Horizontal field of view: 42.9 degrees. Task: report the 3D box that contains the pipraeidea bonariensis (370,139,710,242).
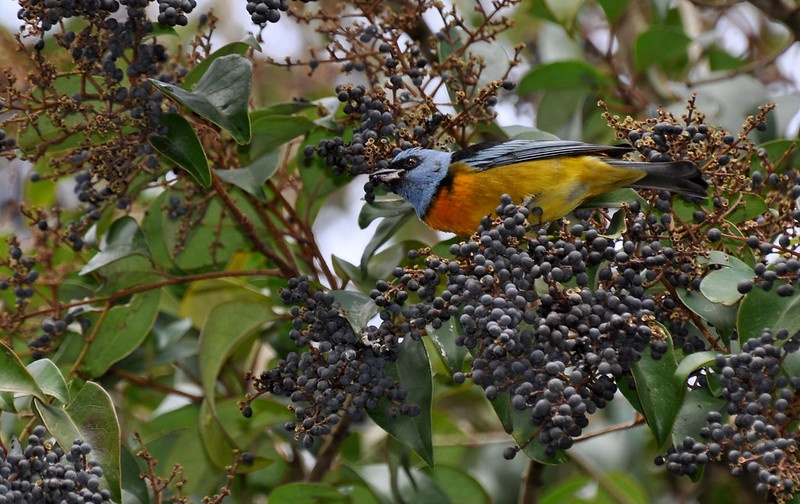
[{"bbox_3d":[0.882,-0.387,6.131,1.230,0.381,0.523,-3,-25,25],"label":"pipraeidea bonariensis"}]
